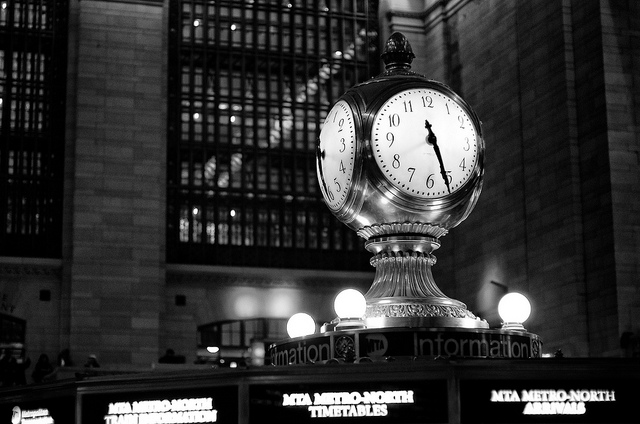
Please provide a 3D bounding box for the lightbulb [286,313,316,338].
[{"bbox_3d":[-0.325,1.909,25.232,0.422,0.450,0.406,-3,-1,-2],"label":"lightbulb"}]

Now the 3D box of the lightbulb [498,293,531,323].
[{"bbox_3d":[3.197,1.644,24.930,0.498,0.531,0.474,-1,-19,5],"label":"lightbulb"}]

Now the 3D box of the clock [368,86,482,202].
[{"bbox_3d":[1.617,-1.020,24.503,1.843,1.642,0.241,6,-6,-10],"label":"clock"}]

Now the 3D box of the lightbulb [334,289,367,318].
[{"bbox_3d":[0.463,1.490,24.289,0.482,0.511,0.445,-1,-68,-4],"label":"lightbulb"}]

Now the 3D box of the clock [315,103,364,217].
[{"bbox_3d":[0.308,-0.817,24.739,0.591,1.611,1.009,11,-28,-21],"label":"clock"}]
